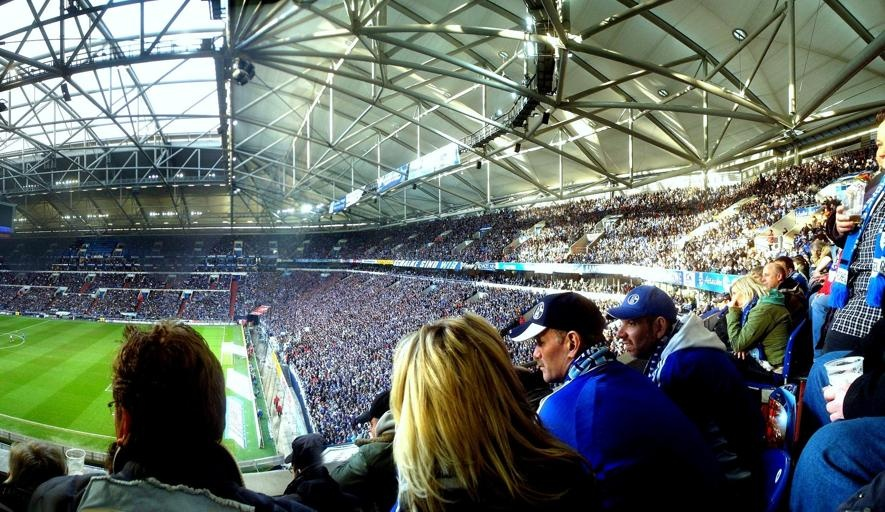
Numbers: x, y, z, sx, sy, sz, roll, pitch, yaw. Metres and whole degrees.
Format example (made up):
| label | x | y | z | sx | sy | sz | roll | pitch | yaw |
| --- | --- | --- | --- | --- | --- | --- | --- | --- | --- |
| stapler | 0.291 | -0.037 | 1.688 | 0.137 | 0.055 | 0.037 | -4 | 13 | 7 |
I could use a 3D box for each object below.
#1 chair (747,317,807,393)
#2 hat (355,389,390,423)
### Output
| label | x | y | z | sx | sy | sz | roll | pitch | yaw |
| --- | --- | --- | --- | --- | --- | --- | --- | --- | --- |
| chair | 9.651 | 3.050 | 17.629 | 1.772 | 2.365 | 2.044 | 12 | -11 | -42 |
| hat | -1.978 | 4.574 | 17.204 | 1.383 | 0.665 | 0.860 | -11 | -1 | -5 |
